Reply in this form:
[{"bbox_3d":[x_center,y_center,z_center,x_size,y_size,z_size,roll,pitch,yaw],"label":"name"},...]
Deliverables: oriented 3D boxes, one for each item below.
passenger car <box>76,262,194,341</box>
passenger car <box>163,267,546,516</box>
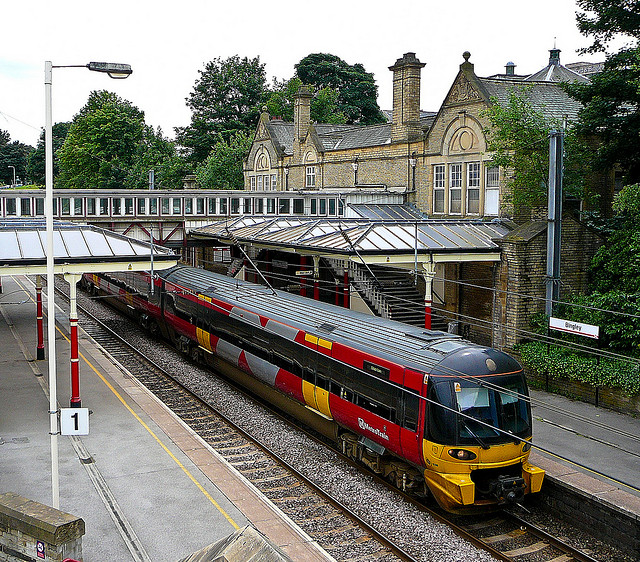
[{"bbox_3d":[-8.272,1.025,32.302,1.588,2.530,9.733,-4,15,-30],"label":"passenger car"},{"bbox_3d":[-1.093,2.454,23.621,2.853,3.847,20.835,-11,12,-28],"label":"passenger car"}]
